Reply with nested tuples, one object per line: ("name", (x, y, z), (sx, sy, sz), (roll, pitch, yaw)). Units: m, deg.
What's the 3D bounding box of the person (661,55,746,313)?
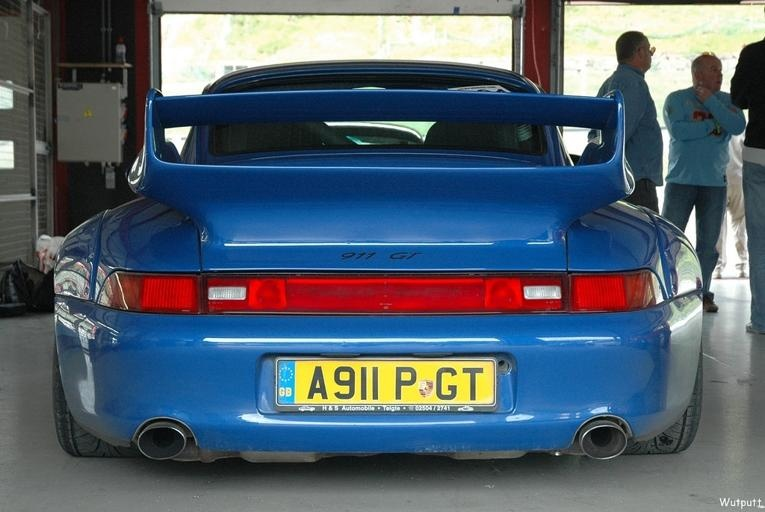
("person", (2.630, -0.618, 7.147), (0.628, 2.119, 0.531), (3, -3, 19))
